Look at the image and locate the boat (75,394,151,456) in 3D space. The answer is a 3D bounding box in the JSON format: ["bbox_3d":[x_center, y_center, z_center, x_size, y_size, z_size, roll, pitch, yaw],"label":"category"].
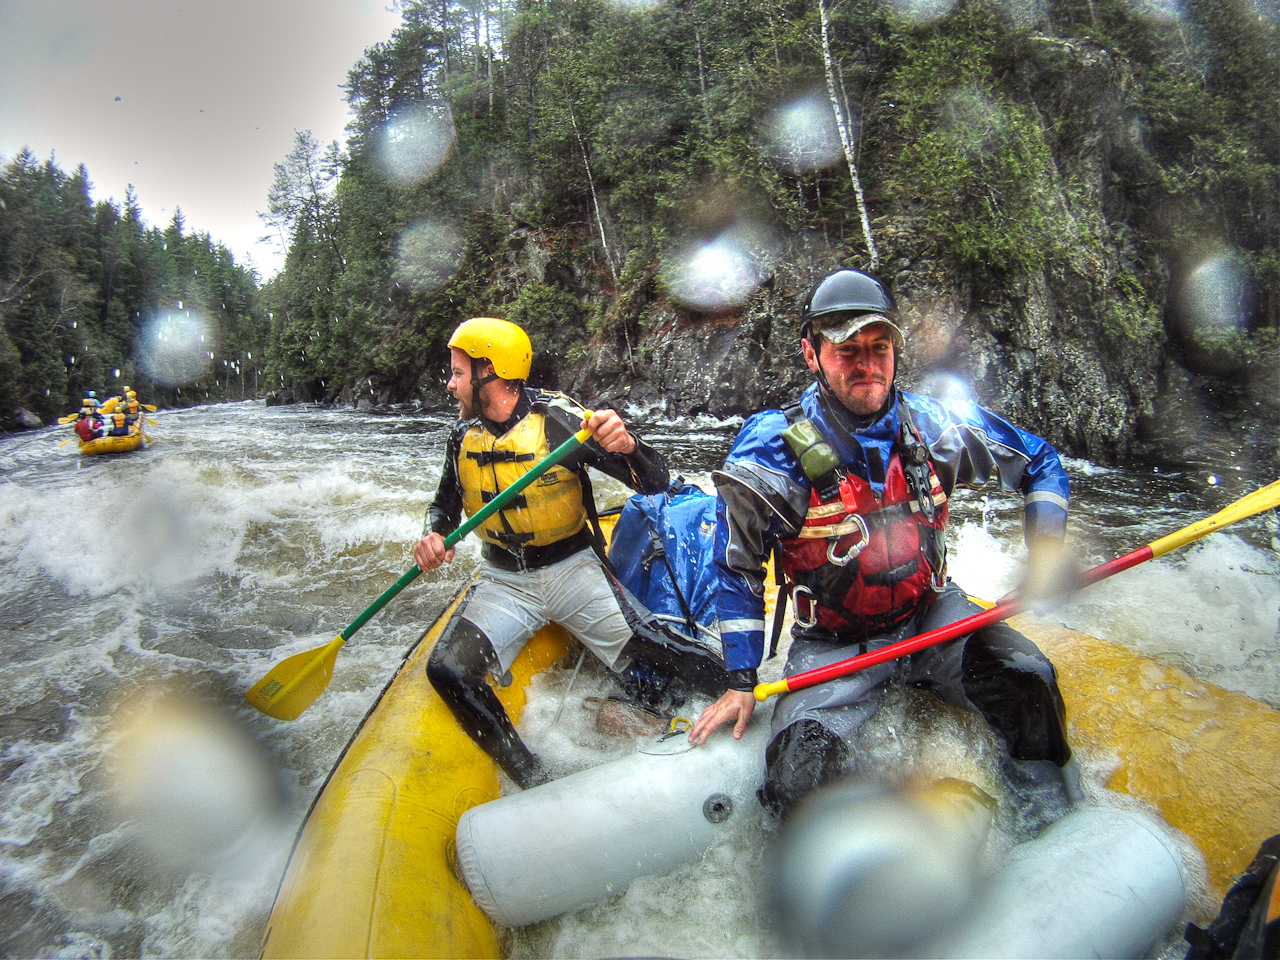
[{"bbox_3d":[-8.228,-0.867,13.746,0.634,0.899,1.964,-6,9,-15],"label":"boat"}]

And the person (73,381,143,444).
[{"bbox_3d":[-8.123,-0.985,13.525,0.936,0.559,1.224,-8,12,-33],"label":"person"}]

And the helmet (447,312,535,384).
[{"bbox_3d":[-0.819,-0.734,4.864,0.394,0.335,0.318,4,11,-5],"label":"helmet"}]

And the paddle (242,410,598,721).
[{"bbox_3d":[-1.468,0.577,5.680,2.555,0.379,0.118,-43,-15,5],"label":"paddle"}]

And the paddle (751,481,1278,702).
[{"bbox_3d":[1.915,0.587,4.461,2.216,0.201,0.102,-27,9,-14],"label":"paddle"}]
